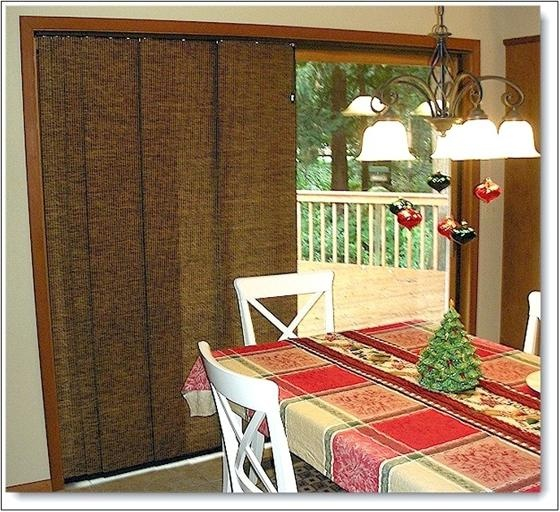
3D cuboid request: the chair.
[{"bbox_3d":[0.307,0.453,1.894,0.955,0.668,1.147,-5,10,-29],"label":"chair"}]
